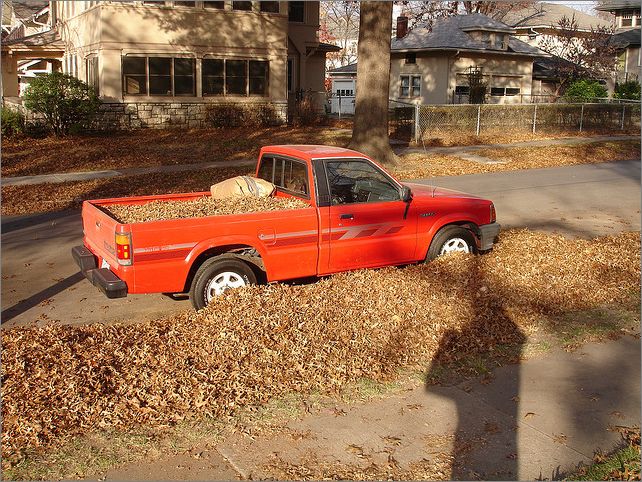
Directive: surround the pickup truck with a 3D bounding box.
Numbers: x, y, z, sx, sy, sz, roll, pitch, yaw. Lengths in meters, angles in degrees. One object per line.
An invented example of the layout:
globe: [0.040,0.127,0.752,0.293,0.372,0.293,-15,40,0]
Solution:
pickup truck: [-0.341,-0.487,7.716,6.451,1.925,2.423,-8,19,-27]
